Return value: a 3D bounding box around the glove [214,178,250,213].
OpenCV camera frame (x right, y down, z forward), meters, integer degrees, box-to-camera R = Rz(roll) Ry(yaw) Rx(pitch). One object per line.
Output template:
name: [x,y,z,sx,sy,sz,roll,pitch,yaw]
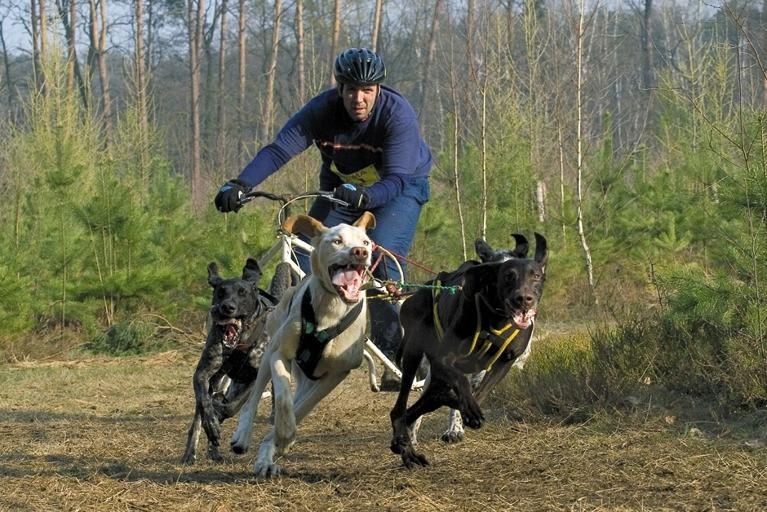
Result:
glove: [-2.269,-0.919,18.480,0.502,0.491,0.284,0,2,-6]
